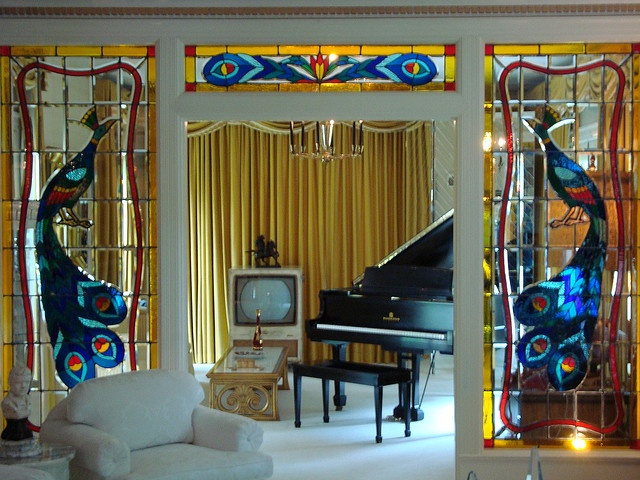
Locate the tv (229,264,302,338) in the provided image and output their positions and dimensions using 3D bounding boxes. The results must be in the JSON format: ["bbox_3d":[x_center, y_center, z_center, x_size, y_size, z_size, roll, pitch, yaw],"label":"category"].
[{"bbox_3d":[-0.543,0.541,11.248,0.701,0.743,0.424,0,25,-2],"label":"tv"}]
